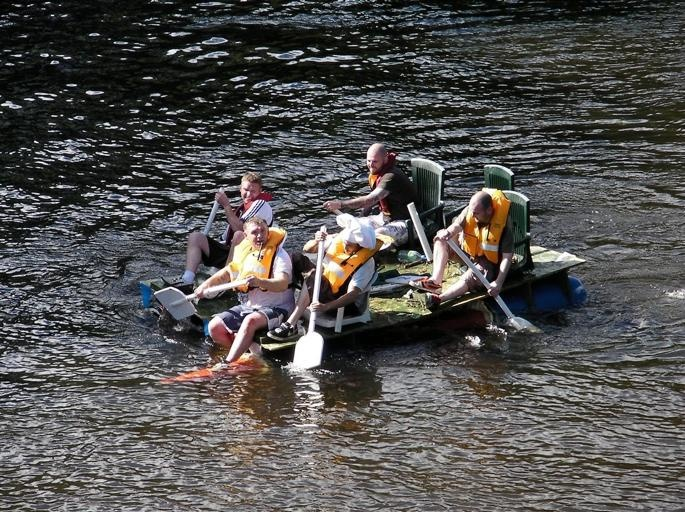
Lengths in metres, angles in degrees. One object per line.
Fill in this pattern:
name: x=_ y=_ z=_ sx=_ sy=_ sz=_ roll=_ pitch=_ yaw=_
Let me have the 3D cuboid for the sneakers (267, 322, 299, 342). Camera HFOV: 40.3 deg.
sneakers: x=-0.745 y=0.982 z=12.130 sx=0.565 sy=0.206 sz=0.143 roll=-5 pitch=58 yaw=-35

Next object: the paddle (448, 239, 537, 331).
paddle: x=2.132 y=0.399 z=12.976 sx=0.396 sy=1.408 sz=1.149 roll=-34 pitch=41 yaw=-18

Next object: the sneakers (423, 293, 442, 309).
sneakers: x=1.263 y=0.610 z=12.735 sx=0.171 sy=0.287 sz=0.103 roll=-9 pitch=71 yaw=4

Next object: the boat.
boat: x=1.190 y=0.692 z=13.118 sx=4.724 sy=0.377 sz=2.619 roll=-7 pitch=11 yaw=-22
